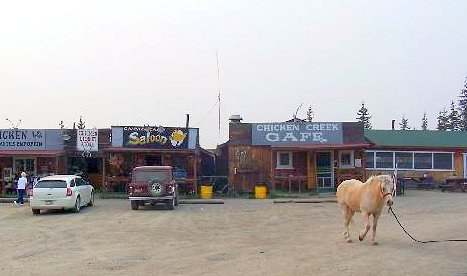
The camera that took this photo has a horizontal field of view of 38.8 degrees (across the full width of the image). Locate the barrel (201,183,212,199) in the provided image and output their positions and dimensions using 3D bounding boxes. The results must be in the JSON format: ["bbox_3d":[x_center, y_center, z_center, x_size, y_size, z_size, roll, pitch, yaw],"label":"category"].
[{"bbox_3d":[-2.192,4.280,53.398,1.059,0.937,1.020,0,-1,-9],"label":"barrel"}]

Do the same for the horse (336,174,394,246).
[{"bbox_3d":[7.503,4.094,38.191,1.783,3.996,6.098,2,-3,-14],"label":"horse"}]

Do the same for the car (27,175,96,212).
[{"bbox_3d":[-11.341,3.843,44.834,1.953,2.485,4.190,8,12,43],"label":"car"}]

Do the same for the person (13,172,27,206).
[{"bbox_3d":[-15.468,3.628,48.381,0.870,2.521,1.477,-3,9,-18],"label":"person"}]

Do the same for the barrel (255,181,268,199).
[{"bbox_3d":[2.108,4.248,53.776,1.250,1.173,1.057,-4,-8,17],"label":"barrel"}]
